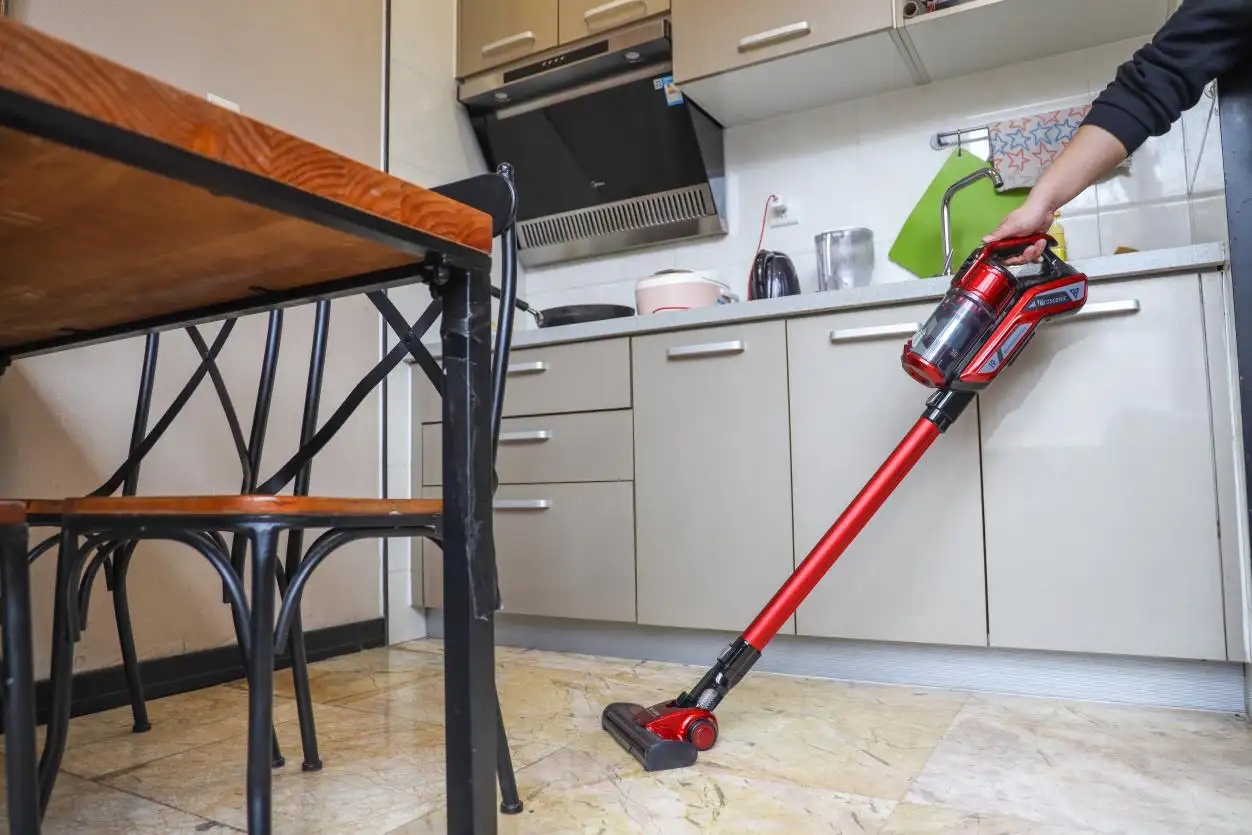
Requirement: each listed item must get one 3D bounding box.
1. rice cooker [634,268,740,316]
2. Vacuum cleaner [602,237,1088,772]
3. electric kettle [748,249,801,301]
[{"bbox_3d":[0.206,-0.364,2.882,0.188,0.076,0.215,-4,-3,34],"label":"rice cooker"},{"bbox_3d":[0.526,0.189,2.119,0.454,1.505,0.325,45,-2,30],"label":"Vacuum cleaner"},{"bbox_3d":[0.473,-0.443,2.821,0.147,0.198,0.199,4,10,41],"label":"electric kettle"}]
